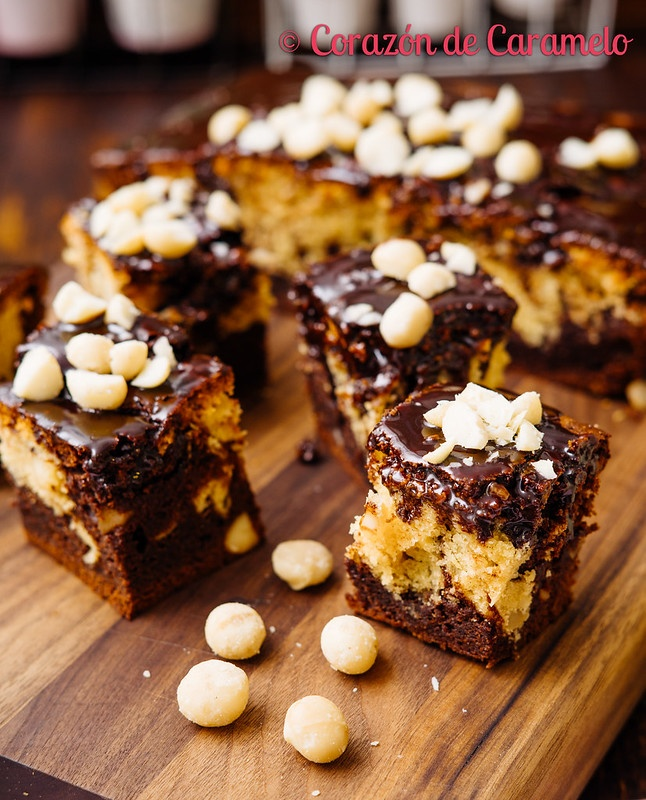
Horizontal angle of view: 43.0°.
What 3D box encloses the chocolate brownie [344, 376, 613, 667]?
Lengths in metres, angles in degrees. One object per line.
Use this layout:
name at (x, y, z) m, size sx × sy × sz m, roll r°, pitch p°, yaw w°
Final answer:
chocolate brownie at (0.358, 0.274, 1.943) m, size 0.432 × 0.593 × 0.439 m, roll 20°, pitch 41°, yaw 33°
